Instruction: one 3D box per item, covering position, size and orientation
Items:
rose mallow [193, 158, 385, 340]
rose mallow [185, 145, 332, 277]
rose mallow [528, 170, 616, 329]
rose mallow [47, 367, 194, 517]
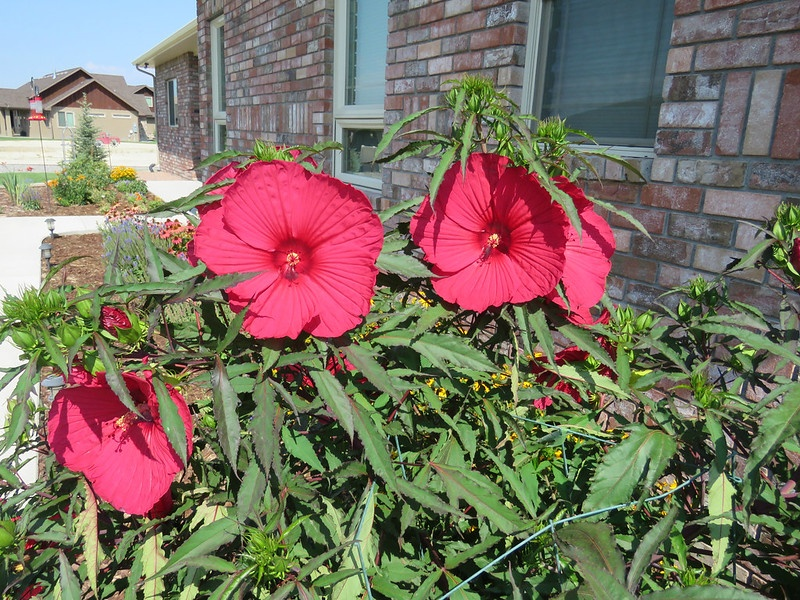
[{"bbox_3d":[-0.263,-0.120,1.210,0.395,0.363,0.322,-5,14,-28],"label":"rose mallow"},{"bbox_3d":[-0.338,-0.224,1.262,0.266,0.302,0.159,-5,14,1],"label":"rose mallow"},{"bbox_3d":[0.422,-0.124,1.347,0.144,0.375,0.143,-3,14,-17],"label":"rose mallow"},{"bbox_3d":[-0.597,0.283,1.160,0.303,0.314,0.088,3,16,14],"label":"rose mallow"}]
